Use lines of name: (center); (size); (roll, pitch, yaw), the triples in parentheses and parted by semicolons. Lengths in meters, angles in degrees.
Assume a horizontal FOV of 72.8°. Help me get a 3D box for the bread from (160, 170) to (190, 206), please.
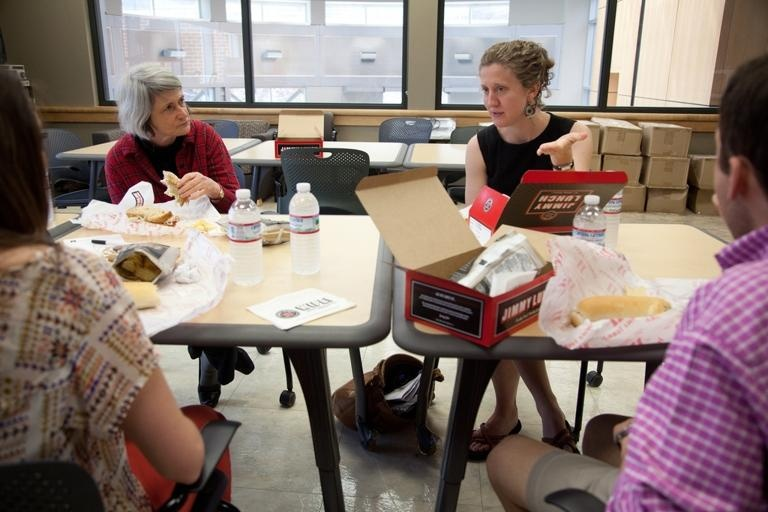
bread: (-0.852, -0.283, 2.084); (0.042, 0.111, 0.160); (-37, 52, 6)

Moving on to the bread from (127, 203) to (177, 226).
bread: (-0.852, -0.152, 1.916); (0.127, 0.041, 0.096); (9, 12, 6)

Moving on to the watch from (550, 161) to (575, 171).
watch: (0.699, -0.347, 2.042); (0.098, 0.045, 0.074); (0, 7, 23)

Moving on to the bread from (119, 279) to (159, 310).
bread: (-0.556, 0.089, 1.182); (0.077, 0.033, 0.078); (22, 11, 22)
